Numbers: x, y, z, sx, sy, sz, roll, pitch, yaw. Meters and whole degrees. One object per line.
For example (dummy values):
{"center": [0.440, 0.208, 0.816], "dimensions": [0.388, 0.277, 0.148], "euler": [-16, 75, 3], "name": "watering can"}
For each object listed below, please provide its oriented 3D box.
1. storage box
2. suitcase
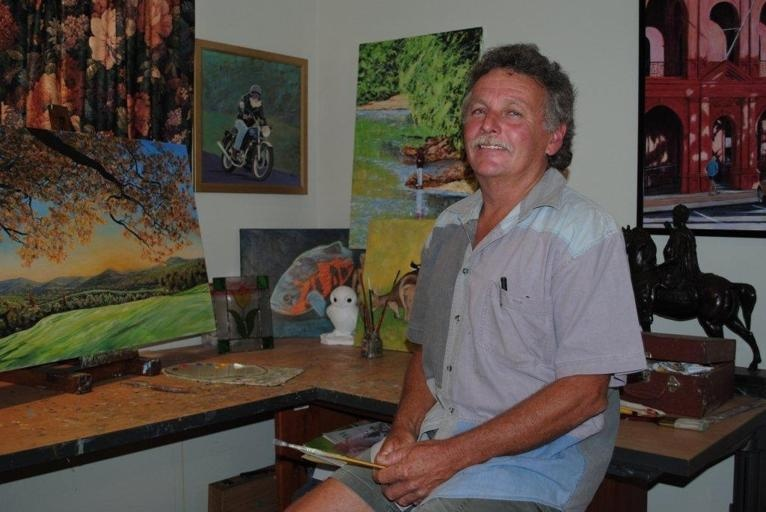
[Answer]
{"center": [1.124, 0.400, 2.239], "dimensions": [0.306, 0.207, 0.322], "euler": [1, 3, 43], "name": "storage box"}
{"center": [1.132, 0.399, 2.247], "dimensions": [0.305, 0.207, 0.322], "euler": [1, 3, 43], "name": "suitcase"}
